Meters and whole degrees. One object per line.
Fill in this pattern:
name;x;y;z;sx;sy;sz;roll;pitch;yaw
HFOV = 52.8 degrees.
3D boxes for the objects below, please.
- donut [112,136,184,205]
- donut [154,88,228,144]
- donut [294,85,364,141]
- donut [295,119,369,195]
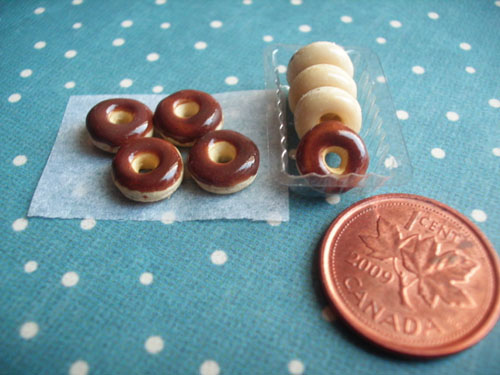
donut;-0.232;-0.039;1.144;0.153;0.060;0.149;1;67;-1
donut;-0.156;-0.203;1.278;0.171;0.169;0.059;1;89;37
donut;0.179;-0.188;1.217;0.182;0.187;0.063;-9;77;38
donut;0.184;-0.065;1.128;0.157;0.084;0.148;14;68;5
